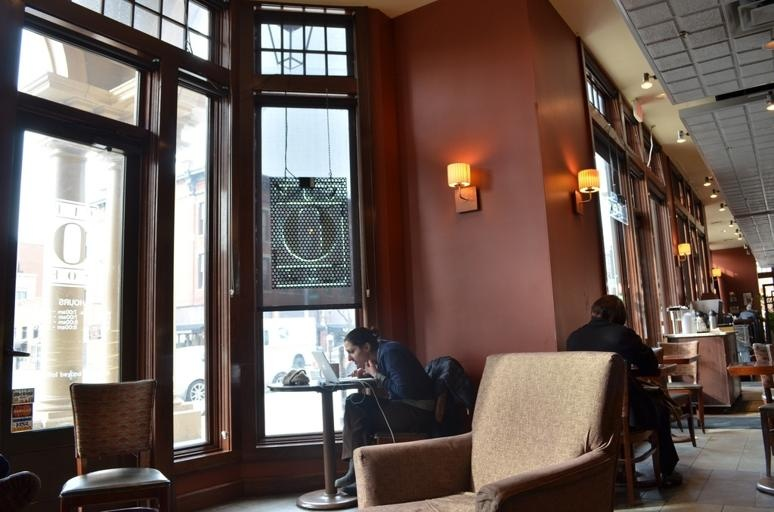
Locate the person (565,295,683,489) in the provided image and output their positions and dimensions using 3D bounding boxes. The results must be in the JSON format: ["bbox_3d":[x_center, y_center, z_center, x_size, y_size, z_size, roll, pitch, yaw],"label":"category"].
[{"bbox_3d":[2.051,1.125,5.237,0.958,1.638,0.940,-3,2,-29],"label":"person"}]

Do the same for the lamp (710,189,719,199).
[{"bbox_3d":[7.401,-1.417,13.217,0.174,0.180,0.162,3,-4,-26],"label":"lamp"}]

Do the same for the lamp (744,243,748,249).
[{"bbox_3d":[11.828,-0.349,19.274,0.047,0.191,0.202,0,0,13],"label":"lamp"}]

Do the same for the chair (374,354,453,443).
[{"bbox_3d":[0.319,1.304,5.226,0.619,0.700,0.553,7,-35,-21],"label":"chair"}]

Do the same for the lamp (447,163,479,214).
[{"bbox_3d":[0.738,-0.651,5.627,0.288,0.466,0.190,-6,-5,19],"label":"lamp"}]

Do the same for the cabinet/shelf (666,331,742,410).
[{"bbox_3d":[3.783,1.369,7.009,0.683,0.880,1.174,-4,-6,32],"label":"cabinet/shelf"}]

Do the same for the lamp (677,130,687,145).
[{"bbox_3d":[4.846,-1.959,9.602,0.168,0.177,0.163,-5,-1,-9],"label":"lamp"}]

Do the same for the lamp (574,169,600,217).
[{"bbox_3d":[2.133,-0.677,6.180,0.232,0.480,0.614,-6,-5,25],"label":"lamp"}]

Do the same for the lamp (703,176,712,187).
[{"bbox_3d":[6.666,-1.568,12.155,0.171,0.176,0.158,-2,-2,-18],"label":"lamp"}]

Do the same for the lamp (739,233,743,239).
[{"bbox_3d":[10.307,-0.596,17.020,0.095,0.104,0.105,-19,-13,35],"label":"lamp"}]

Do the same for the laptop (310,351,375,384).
[{"bbox_3d":[-0.392,0.945,5.000,0.350,0.223,0.347,-4,-11,-22],"label":"laptop"}]

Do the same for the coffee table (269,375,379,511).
[{"bbox_3d":[-0.493,1.588,5.110,0.977,0.982,0.961,0,-14,-6],"label":"coffee table"}]
